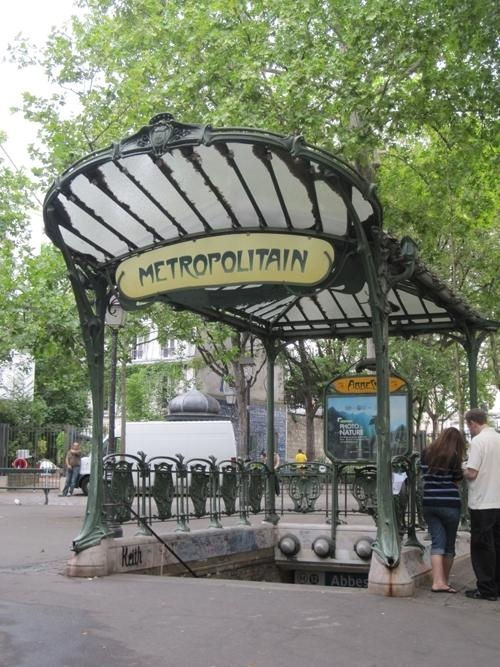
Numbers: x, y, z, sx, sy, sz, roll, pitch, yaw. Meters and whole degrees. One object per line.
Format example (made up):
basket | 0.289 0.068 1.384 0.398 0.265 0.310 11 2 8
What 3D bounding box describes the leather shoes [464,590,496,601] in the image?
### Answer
leather shoes | 2.074 2.340 6.527 0.087 0.088 0.228 1 1 -41
